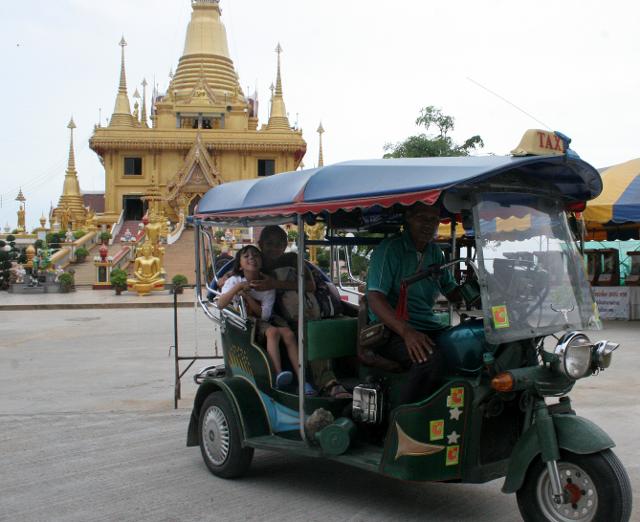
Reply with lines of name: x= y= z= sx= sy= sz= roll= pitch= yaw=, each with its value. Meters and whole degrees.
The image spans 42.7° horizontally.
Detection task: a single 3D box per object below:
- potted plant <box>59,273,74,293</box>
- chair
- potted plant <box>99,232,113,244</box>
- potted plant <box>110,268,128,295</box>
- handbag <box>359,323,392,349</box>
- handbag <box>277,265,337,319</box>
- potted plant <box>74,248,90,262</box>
potted plant: x=-9.166 y=0.798 z=30.015 sx=0.694 sy=0.738 sz=0.681 roll=0 pitch=6 yaw=-30
chair: x=0.015 y=0.581 z=6.659 sx=1.143 sy=1.165 sz=1.619 roll=4 pitch=-6 yaw=-43
potted plant: x=-10.626 y=-1.143 z=40.751 sx=0.568 sy=0.553 sz=0.546 roll=1 pitch=-2 yaw=-11
potted plant: x=-7.484 y=0.731 z=30.195 sx=0.826 sy=1.201 sz=0.860 roll=1 pitch=-3 yaw=-2
handbag: x=0.409 y=0.537 z=5.858 sx=0.088 sy=0.156 sz=0.178 roll=35 pitch=-24 yaw=-29
handbag: x=0.004 y=0.232 z=6.982 sx=0.504 sy=0.483 sz=0.358 roll=-8 pitch=-7 yaw=21
potted plant: x=-10.731 y=-0.307 z=37.132 sx=0.491 sy=0.628 sz=0.843 roll=0 pitch=2 yaw=23
